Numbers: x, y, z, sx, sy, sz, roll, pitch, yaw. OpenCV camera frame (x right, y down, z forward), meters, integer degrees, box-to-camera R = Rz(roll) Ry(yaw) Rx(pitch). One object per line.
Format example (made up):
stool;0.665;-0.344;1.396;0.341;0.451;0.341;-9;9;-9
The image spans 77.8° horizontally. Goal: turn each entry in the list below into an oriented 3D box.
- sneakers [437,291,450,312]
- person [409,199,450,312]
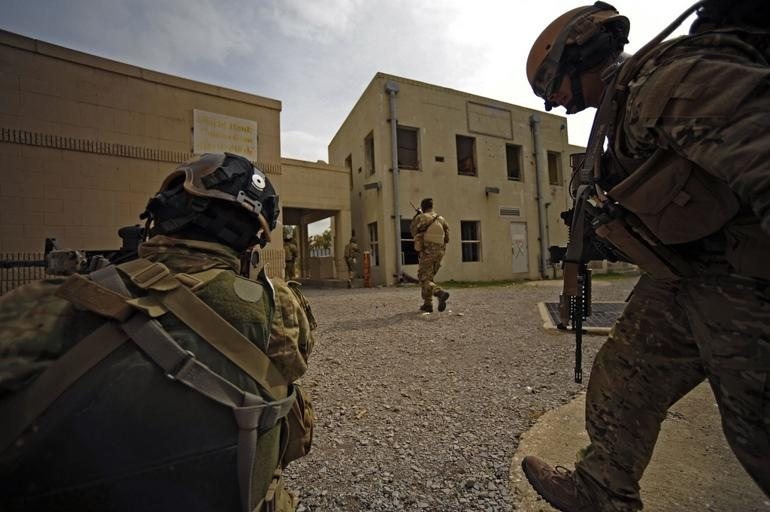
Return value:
sneakers;0.823;0.637;6.722;0.131;0.414;0.176;2;13;-6
person;0.656;0.043;7.137;0.556;1.751;1.244;-1;10;4
